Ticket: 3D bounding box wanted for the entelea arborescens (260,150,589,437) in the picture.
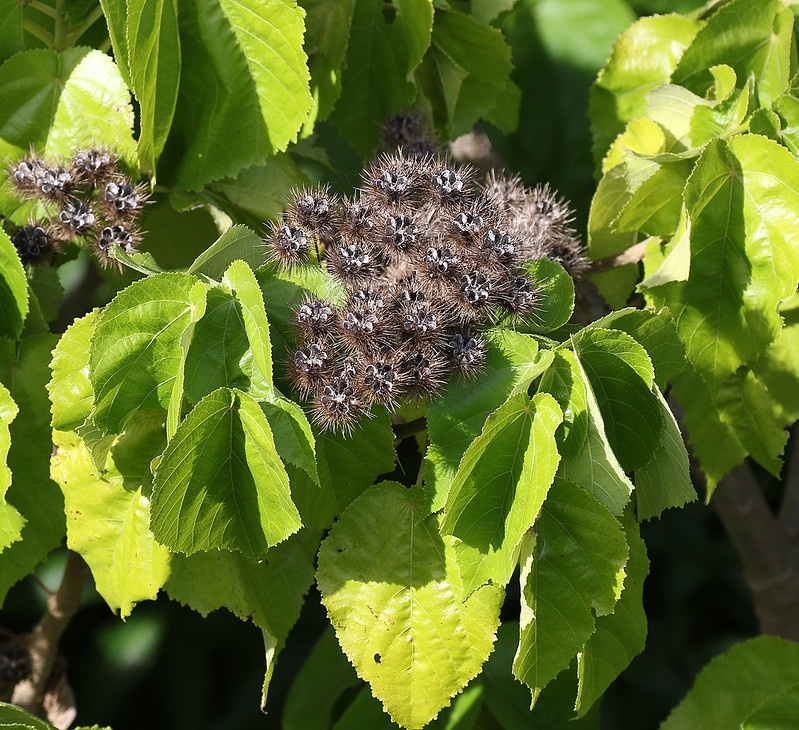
[{"bbox_3d":[0.021,-0.113,1.817,0.378,0.429,0.210,-26,-4,-17],"label":"entelea arborescens"}]
